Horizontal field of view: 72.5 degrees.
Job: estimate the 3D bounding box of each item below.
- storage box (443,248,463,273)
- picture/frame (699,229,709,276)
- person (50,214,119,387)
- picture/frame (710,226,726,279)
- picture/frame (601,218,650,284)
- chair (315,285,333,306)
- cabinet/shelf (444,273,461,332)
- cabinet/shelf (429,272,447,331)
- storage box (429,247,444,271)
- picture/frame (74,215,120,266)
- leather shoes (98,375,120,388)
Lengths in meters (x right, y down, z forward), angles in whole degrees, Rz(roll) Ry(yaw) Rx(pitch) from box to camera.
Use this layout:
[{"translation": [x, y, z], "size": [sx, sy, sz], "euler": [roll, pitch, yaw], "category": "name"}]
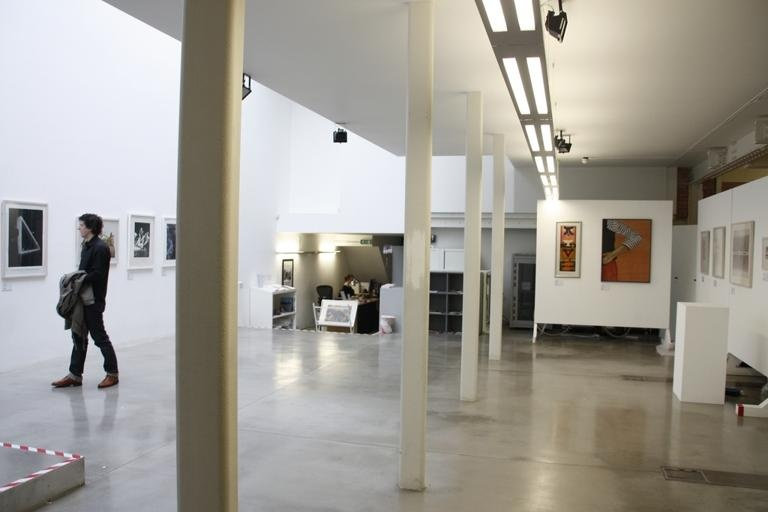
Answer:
[{"translation": [1.881, 0.115, 14.363], "size": [0.491, 0.709, 0.696], "euler": [0, 0, 11], "category": "storage box"}, {"translation": [6.790, -0.084, 11.133], "size": [0.092, 1.041, 0.947], "euler": [1, 1, 20], "category": "picture/frame"}, {"translation": [-4.383, 0.684, 7.684], "size": [0.721, 2.572, 0.508], "euler": [1, 5, -3], "category": "person"}, {"translation": [6.519, -0.030, 10.256], "size": [0.030, 0.999, 0.908], "euler": [1, 1, 21], "category": "picture/frame"}, {"translation": [5.548, -0.107, 11.952], "size": [1.324, 1.971, 0.066], "euler": [2, 1, 19], "category": "picture/frame"}, {"translation": [-2.047, 1.357, 17.898], "size": [0.626, 0.955, 0.636], "euler": [0, 0, -20], "category": "chair"}, {"translation": [1.776, 1.180, 13.363], "size": [0.374, 1.484, 0.450], "euler": [2, 5, 7], "category": "cabinet/shelf"}, {"translation": [1.372, 1.182, 13.427], "size": [0.404, 1.485, 0.446], "euler": [2, 5, 3], "category": "cabinet/shelf"}, {"translation": [1.491, 0.068, 14.796], "size": [0.346, 0.526, 0.772], "euler": [2, 5, 4], "category": "storage box"}, {"translation": [-5.588, -0.312, 10.256], "size": [1.065, 0.825, 0.035], "euler": [-1, -9, 25], "category": "picture/frame"}, {"translation": [-4.158, 1.903, 7.893], "size": [0.121, 0.217, 0.298], "euler": [-3, -13, 21], "category": "leather shoes"}]
